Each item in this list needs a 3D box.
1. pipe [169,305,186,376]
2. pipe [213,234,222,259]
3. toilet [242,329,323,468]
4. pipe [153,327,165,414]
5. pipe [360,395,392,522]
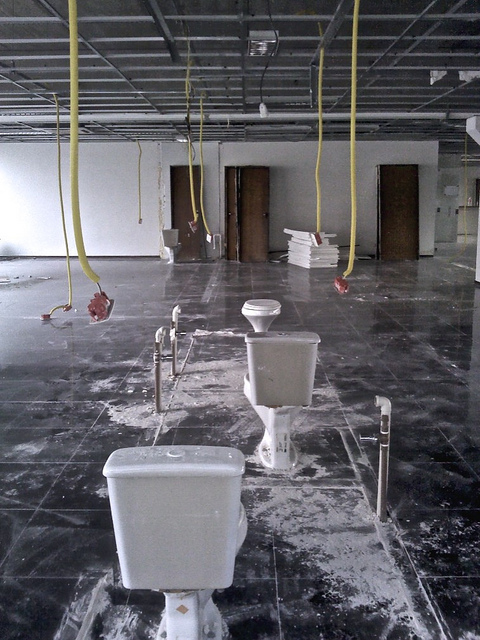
[{"bbox_3d":[-0.571,0.187,4.939,0.154,0.635,0.089,-1,5,-16],"label":"pipe"},{"bbox_3d":[-0.592,-2.148,15.203,0.255,0.673,0.279,-2,12,-5],"label":"pipe"},{"bbox_3d":[0.233,0.443,3.079,0.382,0.856,0.611,0,12,0],"label":"toilet"},{"bbox_3d":[-0.600,0.371,3.999,0.080,0.649,0.172,2,12,11],"label":"pipe"},{"bbox_3d":[0.665,0.704,2.594,0.150,0.650,0.070,2,2,11],"label":"pipe"}]
